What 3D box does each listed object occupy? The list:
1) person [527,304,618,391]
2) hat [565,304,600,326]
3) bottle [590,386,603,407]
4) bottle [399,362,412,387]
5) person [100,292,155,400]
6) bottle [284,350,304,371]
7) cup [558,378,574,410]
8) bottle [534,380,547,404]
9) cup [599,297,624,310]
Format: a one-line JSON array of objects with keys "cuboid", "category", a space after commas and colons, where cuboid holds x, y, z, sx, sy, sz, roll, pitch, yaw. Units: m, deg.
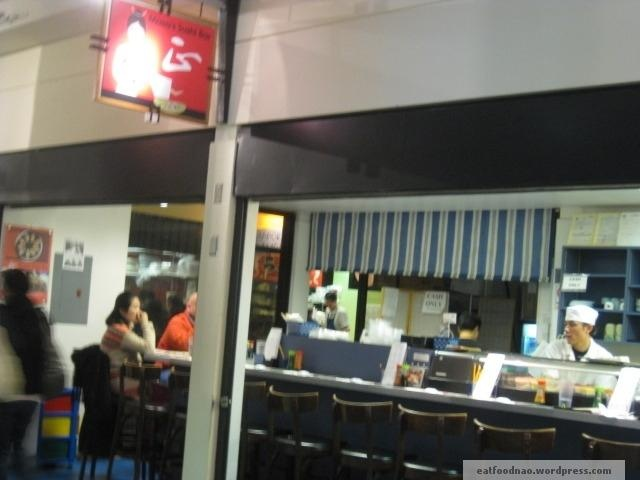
[{"cuboid": [2.539, 1.169, 5.698, 0.685, 0.928, 0.545, 24, -11, -7], "category": "person"}, {"cuboid": [2.619, 0.750, 5.794, 0.216, 0.196, 0.294, 7, -4, 43], "category": "hat"}, {"cuboid": [2.043, 1.151, 4.236, 0.070, 0.142, 0.142, -2, -5, 30], "category": "bottle"}, {"cuboid": [0.725, 1.152, 4.927, 0.116, 0.240, 0.123, 3, -10, 0], "category": "bottle"}, {"cuboid": [-1.553, 0.865, 4.719, 0.407, 0.830, 0.363, 3, 11, -12], "category": "person"}, {"cuboid": [-0.253, 1.215, 5.928, 0.162, 0.332, 0.173, 2, -1, 0], "category": "bottle"}, {"cuboid": [1.789, 1.118, 4.215, 0.099, 0.197, 0.165, -1, -5, 23], "category": "cup"}, {"cuboid": [1.692, 1.157, 4.426, 0.100, 0.169, 0.092, 1, -4, 0], "category": "bottle"}, {"cuboid": [3.539, 0.773, 6.989, 0.153, 0.106, 0.158, 0, 3, 0], "category": "cup"}]
